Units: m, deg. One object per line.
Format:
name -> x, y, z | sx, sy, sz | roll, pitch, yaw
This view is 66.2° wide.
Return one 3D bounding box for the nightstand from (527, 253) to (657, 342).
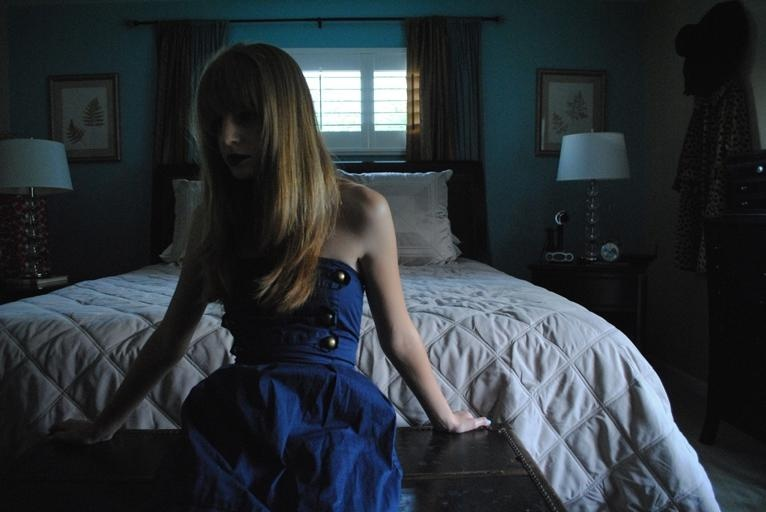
nightstand -> 1.368, 0.210, 3.919 | 0.703, 0.747, 0.537 | 0, -4, 6
